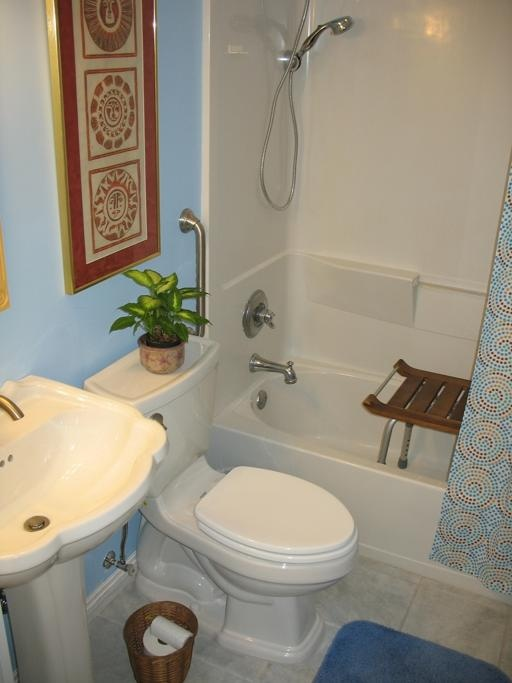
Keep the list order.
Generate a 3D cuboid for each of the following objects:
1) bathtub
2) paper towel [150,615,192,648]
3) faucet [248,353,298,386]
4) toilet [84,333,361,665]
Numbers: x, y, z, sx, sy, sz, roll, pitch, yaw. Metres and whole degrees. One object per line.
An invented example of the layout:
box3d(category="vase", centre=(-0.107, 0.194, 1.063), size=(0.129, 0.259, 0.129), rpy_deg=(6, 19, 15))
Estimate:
box3d(category="bathtub", centre=(0.373, 0.795, 2.326), size=(1.153, 0.404, 0.690), rpy_deg=(17, 24, 31))
box3d(category="paper towel", centre=(-0.225, 0.783, 1.433), size=(0.123, 0.061, 0.049), rpy_deg=(16, 27, 29))
box3d(category="faucet", centre=(0.088, 0.113, 2.331), size=(0.208, 0.122, 0.107), rpy_deg=(12, 22, 24))
box3d(category="toilet", centre=(-0.049, 0.503, 1.599), size=(0.727, 0.818, 0.420), rpy_deg=(10, 23, 24))
